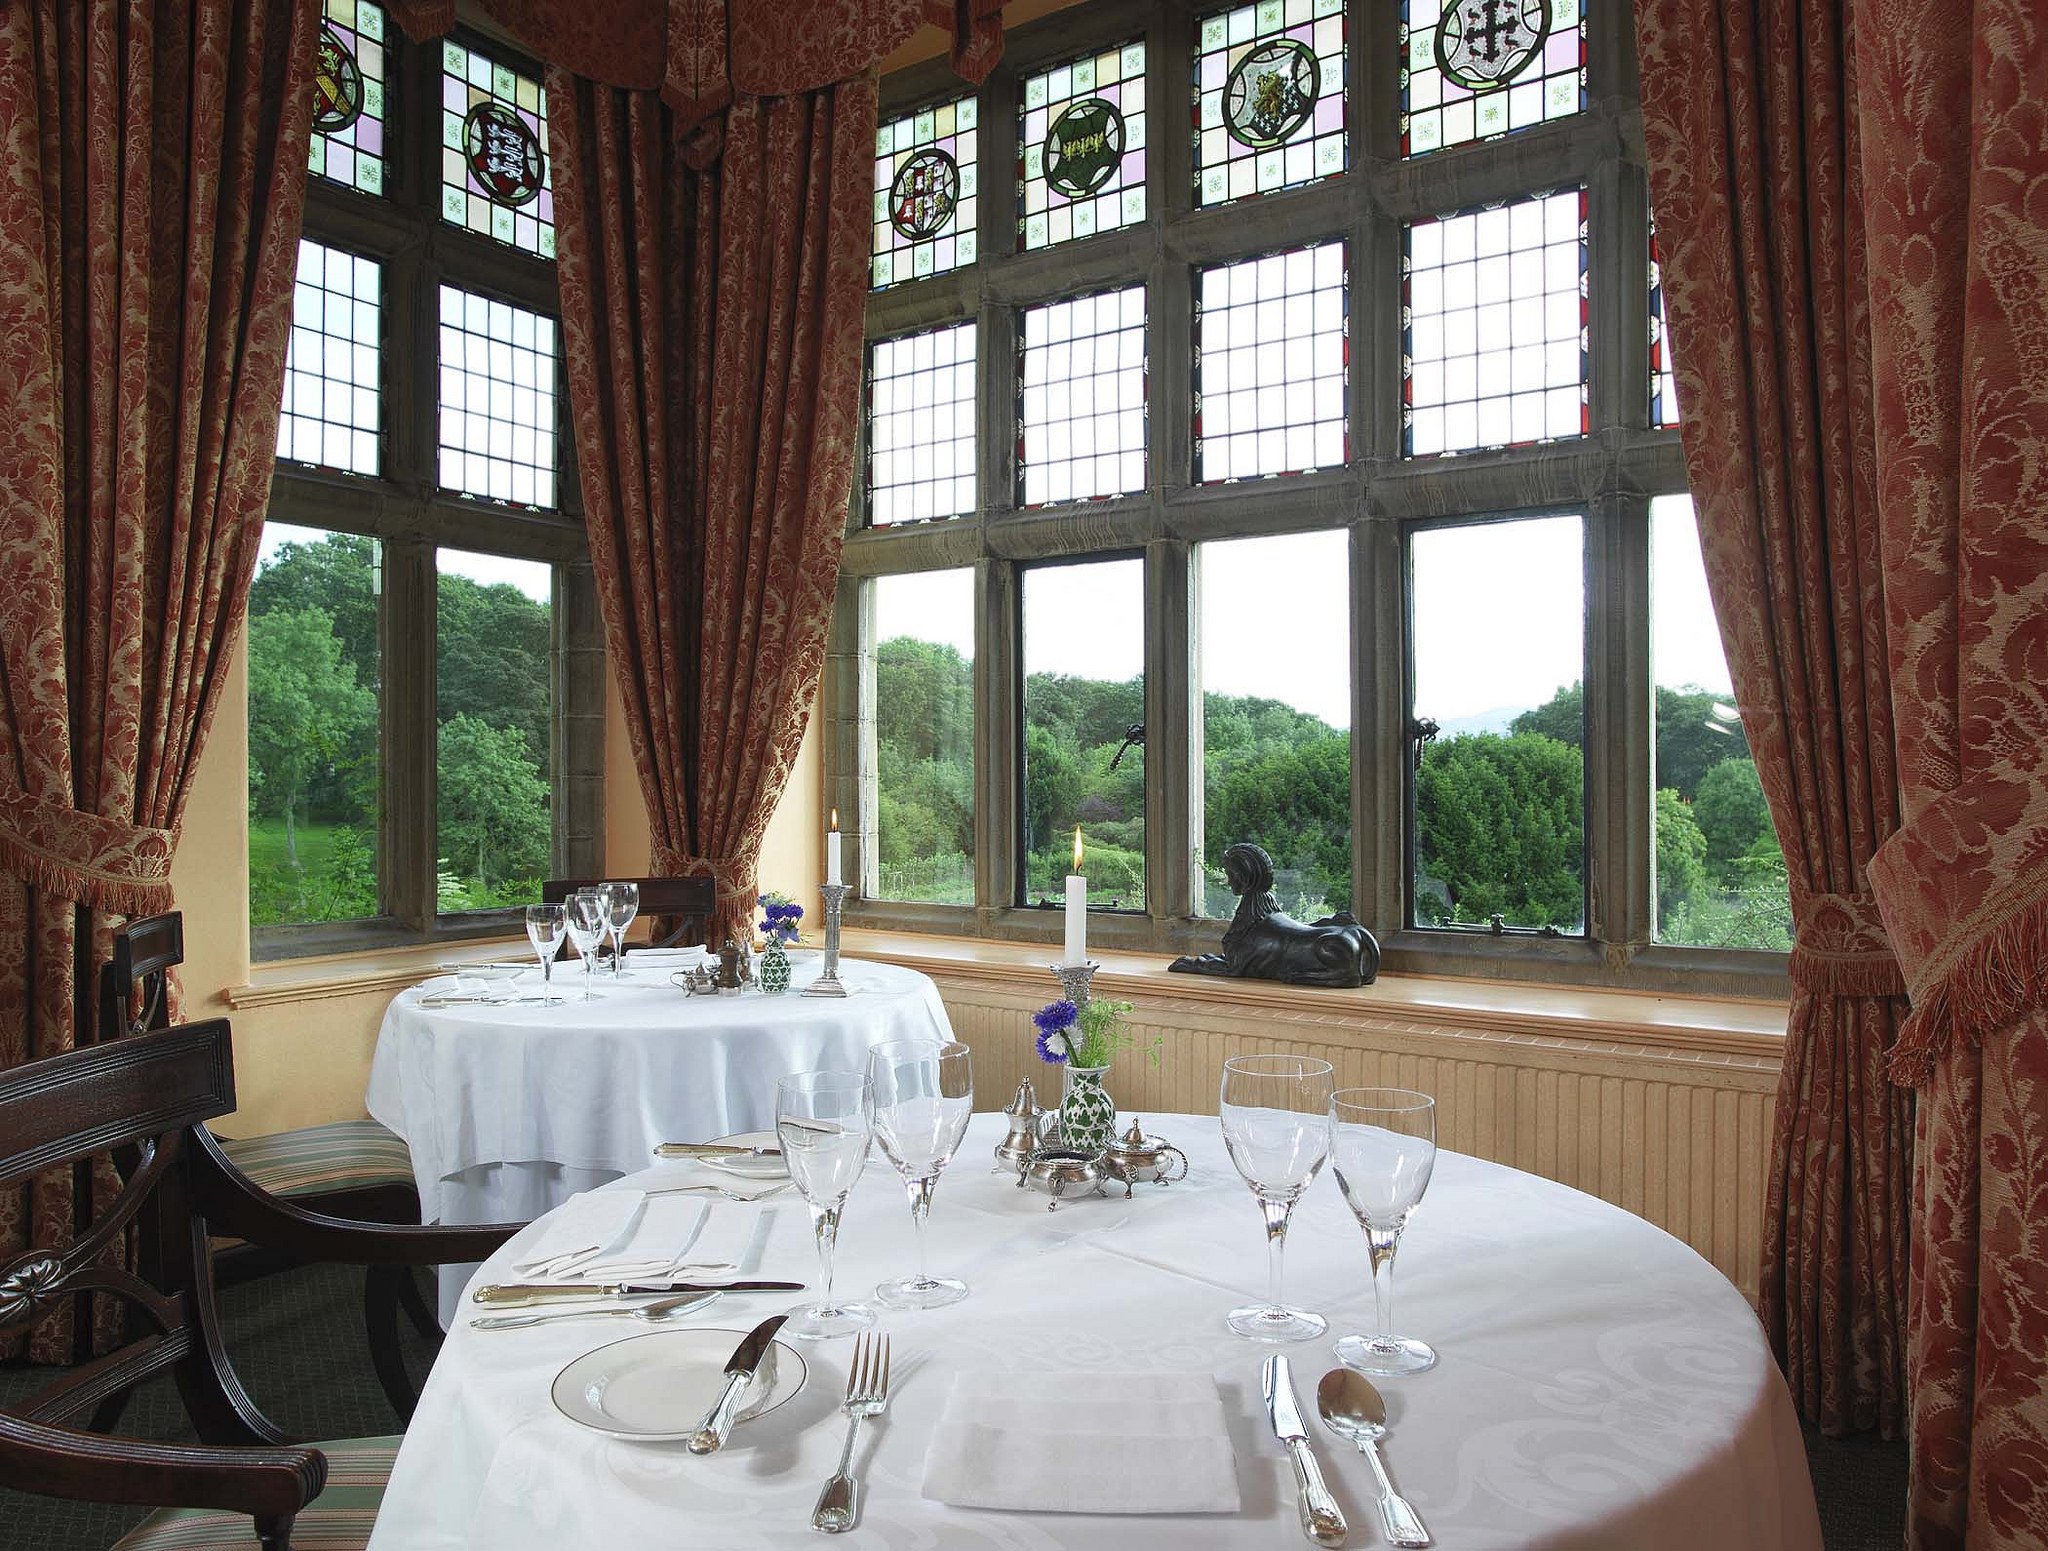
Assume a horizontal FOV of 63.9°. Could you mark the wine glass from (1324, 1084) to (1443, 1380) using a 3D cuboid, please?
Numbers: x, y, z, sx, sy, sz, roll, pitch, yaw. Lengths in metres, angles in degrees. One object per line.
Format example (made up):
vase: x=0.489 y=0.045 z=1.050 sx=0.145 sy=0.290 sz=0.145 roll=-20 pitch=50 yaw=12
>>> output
wine glass: x=0.520 y=0.625 z=2.336 sx=0.141 sy=0.377 sz=0.270 roll=0 pitch=-4 yaw=15

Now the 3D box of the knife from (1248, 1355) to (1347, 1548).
knife: x=0.358 y=0.859 z=2.130 sx=0.073 sy=0.173 sz=0.255 roll=1 pitch=-4 yaw=-5
